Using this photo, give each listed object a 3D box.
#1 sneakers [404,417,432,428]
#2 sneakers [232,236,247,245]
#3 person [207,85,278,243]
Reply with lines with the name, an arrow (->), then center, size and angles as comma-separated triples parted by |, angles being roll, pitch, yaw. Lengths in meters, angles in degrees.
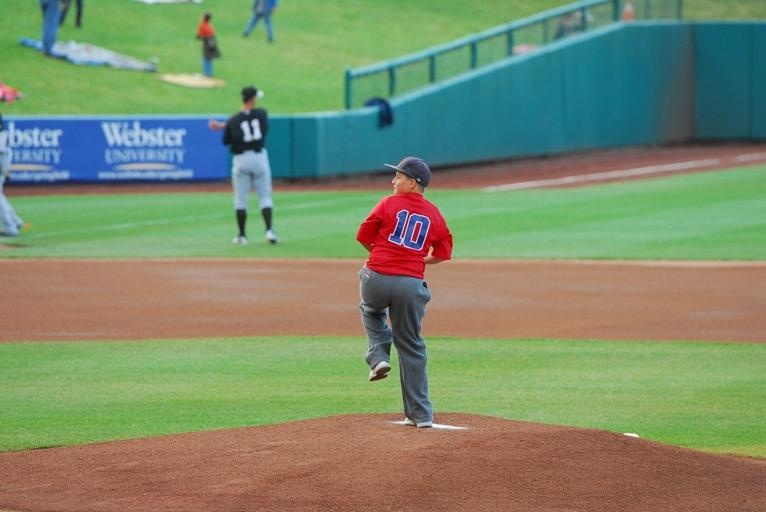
sneakers -> 0.467, 2.219, 20.175 | 0.383, 0.136, 0.129 | 5, -2, 17
sneakers -> -2.397, -0.221, 25.687 | 0.109, 0.104, 0.273 | 1, 4, -21
person -> -2.206, -1.442, 24.549 | 0.770, 2.466, 1.127 | -2, 7, -4
